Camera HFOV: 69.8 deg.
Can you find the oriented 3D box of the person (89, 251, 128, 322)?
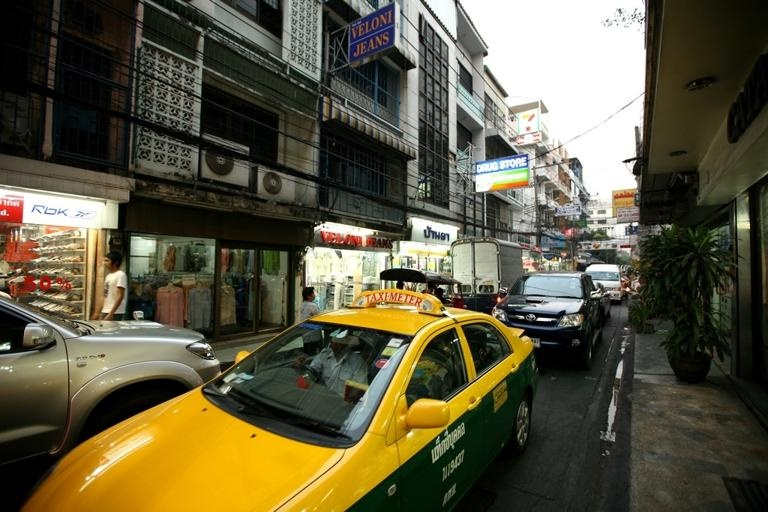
[{"bbox_3d":[-5.196,0.945,10.479,0.597,1.986,0.455,3,1,34],"label":"person"}]

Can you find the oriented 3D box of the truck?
[{"bbox_3d":[3.361,0.236,17.799,1.306,1.633,2.681,1,4,31],"label":"truck"}]

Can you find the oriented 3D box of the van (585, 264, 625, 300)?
[{"bbox_3d":[9.905,0.911,24.395,1.106,1.147,2.391,5,19,23],"label":"van"}]
